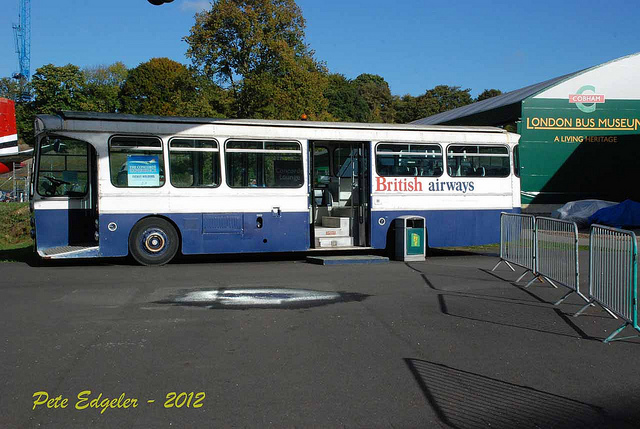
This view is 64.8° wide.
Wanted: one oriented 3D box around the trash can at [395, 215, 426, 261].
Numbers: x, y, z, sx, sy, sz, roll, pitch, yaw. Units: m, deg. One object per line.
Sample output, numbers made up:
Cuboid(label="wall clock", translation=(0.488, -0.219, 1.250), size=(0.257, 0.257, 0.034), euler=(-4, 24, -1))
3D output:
Cuboid(label="trash can", translation=(2.836, 0.761, 16.110), size=(0.736, 1.416, 0.755), euler=(1, -2, -13))
